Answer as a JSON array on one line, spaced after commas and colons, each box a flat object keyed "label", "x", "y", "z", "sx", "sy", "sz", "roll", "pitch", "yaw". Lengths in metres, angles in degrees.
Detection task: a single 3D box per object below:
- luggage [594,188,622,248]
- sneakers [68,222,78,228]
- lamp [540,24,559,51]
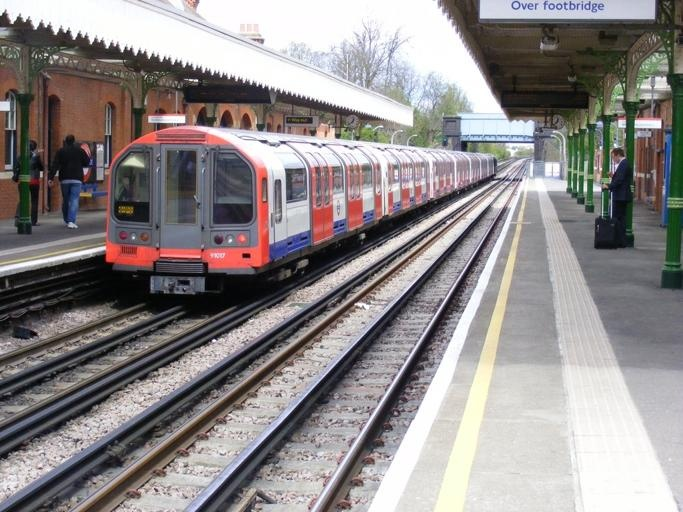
[{"label": "luggage", "x": 7.129, "y": -0.896, "z": 17.391, "sx": 0.772, "sy": 1.246, "sz": 0.741, "roll": 6, "pitch": 18, "yaw": 38}, {"label": "sneakers", "x": -6.926, "y": -0.783, "z": 16.685, "sx": 0.127, "sy": 0.130, "sz": 0.338, "roll": -1, "pitch": -2, "yaw": -3}, {"label": "lamp", "x": 4.890, "y": -5.186, "z": 15.445, "sx": 0.418, "sy": 0.545, "sz": 1.446, "roll": 0, "pitch": 10, "yaw": 14}]
